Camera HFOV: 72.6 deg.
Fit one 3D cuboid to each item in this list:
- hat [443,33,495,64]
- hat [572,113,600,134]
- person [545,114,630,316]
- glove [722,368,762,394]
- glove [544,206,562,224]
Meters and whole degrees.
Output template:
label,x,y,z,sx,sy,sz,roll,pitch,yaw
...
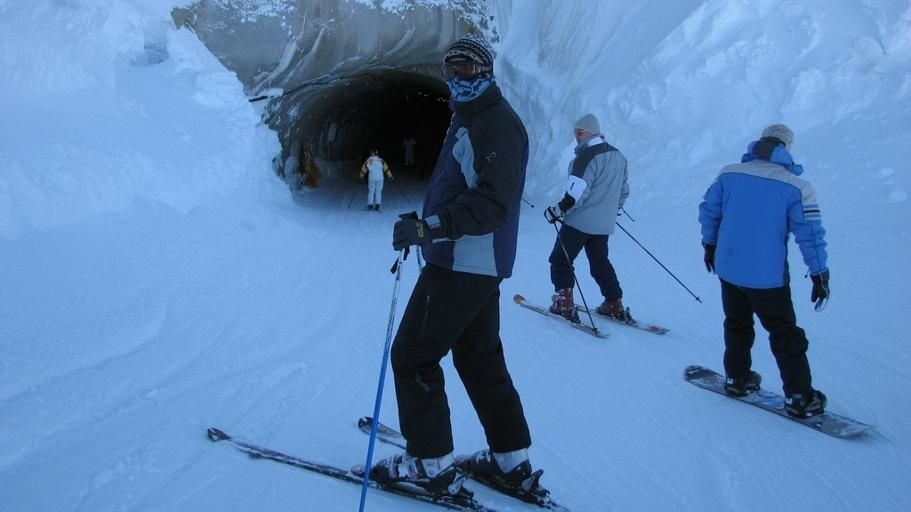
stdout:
label,x,y,z,sx,sy,sz,roll,pitch,yaw
hat,0.128,-2.076,6.270,0.421,0.270,0.294,1,8,-34
hat,1.804,-1.835,8.575,0.322,0.268,0.224,11,10,7
person,1.834,-0.518,8.664,1.315,2.826,0.525,6,10,-18
glove,3.408,1.510,7.476,0.506,0.235,0.196,-9,13,-24
glove,1.374,-0.589,8.735,0.206,0.272,0.958,11,10,9
